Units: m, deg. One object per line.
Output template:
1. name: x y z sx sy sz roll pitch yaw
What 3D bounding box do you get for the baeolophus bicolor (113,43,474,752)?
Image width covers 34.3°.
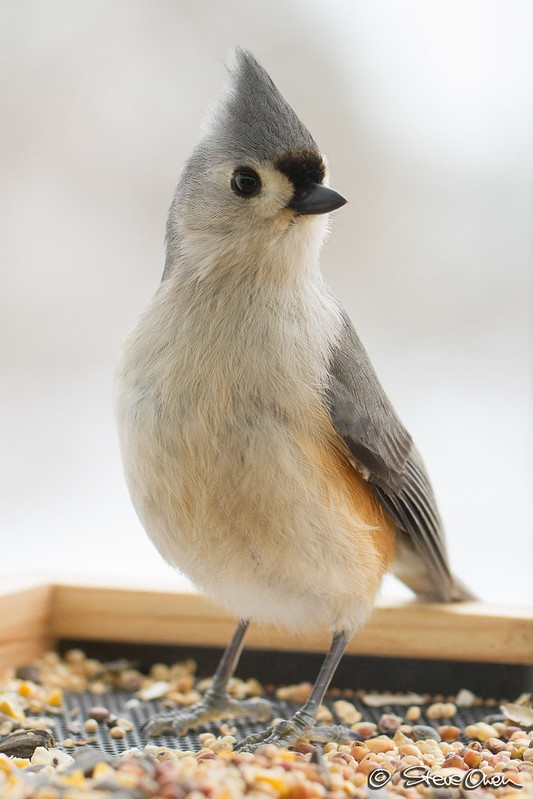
1. baeolophus bicolor: 0.012 0.029 1.365 0.407 1.009 0.453 -8 -12 21
